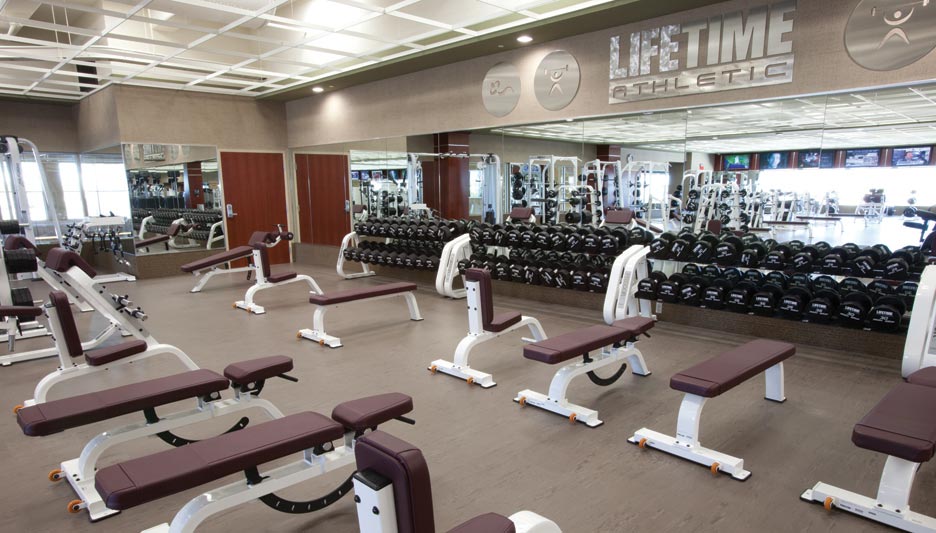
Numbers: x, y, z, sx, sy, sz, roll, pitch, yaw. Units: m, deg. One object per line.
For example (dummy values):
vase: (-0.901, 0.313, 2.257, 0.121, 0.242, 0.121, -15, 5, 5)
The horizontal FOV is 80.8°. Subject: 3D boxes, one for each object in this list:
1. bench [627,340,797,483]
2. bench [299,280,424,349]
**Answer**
bench: (2.030, 1.130, 4.412, 1.303, 0.818, 0.718, -8, 14, -31)
bench: (-1.208, 0.487, 6.354, 1.319, 0.423, 0.684, -7, 9, -40)
